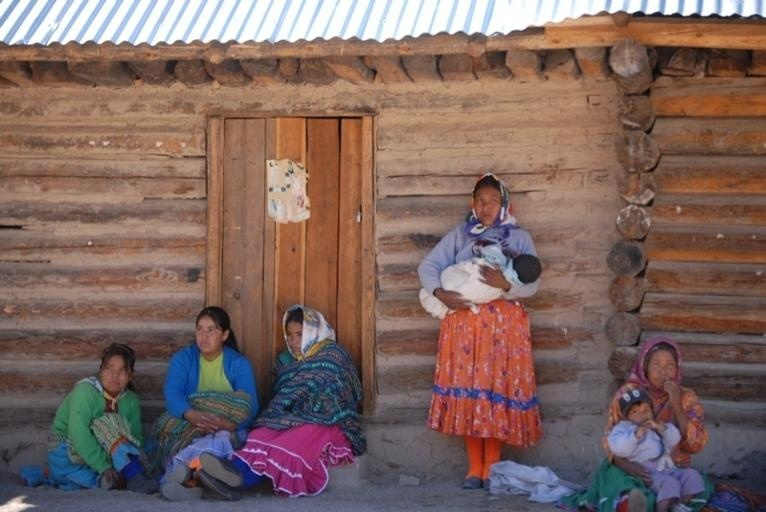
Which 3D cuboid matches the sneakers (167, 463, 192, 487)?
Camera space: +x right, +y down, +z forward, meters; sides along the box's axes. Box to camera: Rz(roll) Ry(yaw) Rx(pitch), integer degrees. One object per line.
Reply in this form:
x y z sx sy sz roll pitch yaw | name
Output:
-1.479 1.590 6.535 0.123 0.193 0.046 20 7 5 | sneakers

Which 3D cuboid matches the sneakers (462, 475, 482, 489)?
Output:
0.691 1.721 6.769 0.154 0.067 0.060 2 -32 9 | sneakers

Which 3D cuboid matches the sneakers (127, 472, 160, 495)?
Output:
-1.790 1.697 6.659 0.180 0.117 0.244 0 0 -35 | sneakers

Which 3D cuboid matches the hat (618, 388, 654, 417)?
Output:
1.782 1.009 6.269 0.166 0.129 0.220 -12 -33 -3 | hat

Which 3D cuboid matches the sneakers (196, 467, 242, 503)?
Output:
-1.172 1.672 6.559 0.332 0.181 0.122 35 29 -2 | sneakers

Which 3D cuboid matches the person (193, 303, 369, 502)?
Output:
-0.782 1.126 6.910 0.835 1.315 1.451 -2 8 42 | person

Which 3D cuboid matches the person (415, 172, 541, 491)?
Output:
0.767 0.555 6.914 0.902 2.396 0.394 -1 0 4 | person

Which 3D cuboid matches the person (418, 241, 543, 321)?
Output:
0.796 0.172 6.993 0.790 0.514 0.338 -13 -7 20 | person

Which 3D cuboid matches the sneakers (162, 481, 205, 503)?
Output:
-1.470 1.712 6.529 0.308 0.113 0.133 8 -6 -6 | sneakers

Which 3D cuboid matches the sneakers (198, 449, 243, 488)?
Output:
-1.156 1.532 6.542 0.421 0.164 0.186 37 -12 1 | sneakers

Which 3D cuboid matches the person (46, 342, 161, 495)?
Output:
-2.119 1.233 6.875 0.911 1.042 0.420 -1 0 12 | person
